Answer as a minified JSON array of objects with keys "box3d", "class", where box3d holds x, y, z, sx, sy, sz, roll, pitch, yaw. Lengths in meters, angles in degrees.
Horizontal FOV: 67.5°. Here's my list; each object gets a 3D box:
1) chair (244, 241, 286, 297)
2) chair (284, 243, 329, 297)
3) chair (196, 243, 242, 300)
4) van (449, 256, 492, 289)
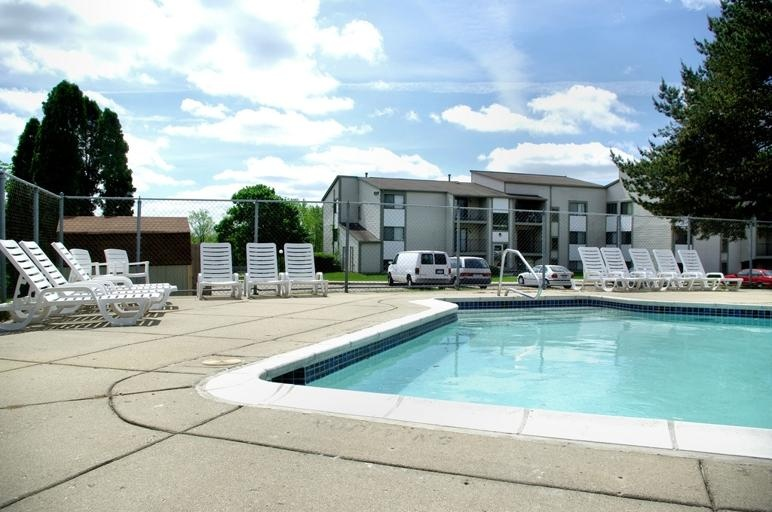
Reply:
[{"box3d":[-3.145,0.358,15.016,0.942,1.333,1.466,1,6,-14],"class":"chair"},{"box3d":[-2.225,0.387,15.786,1.033,1.471,2.172,2,6,-9],"class":"chair"},{"box3d":[-4.130,0.360,14.593,1.036,1.373,1.481,1,6,-15],"class":"chair"},{"box3d":[3.557,0.639,23.993,1.069,0.928,1.862,0,5,-14],"class":"van"}]
